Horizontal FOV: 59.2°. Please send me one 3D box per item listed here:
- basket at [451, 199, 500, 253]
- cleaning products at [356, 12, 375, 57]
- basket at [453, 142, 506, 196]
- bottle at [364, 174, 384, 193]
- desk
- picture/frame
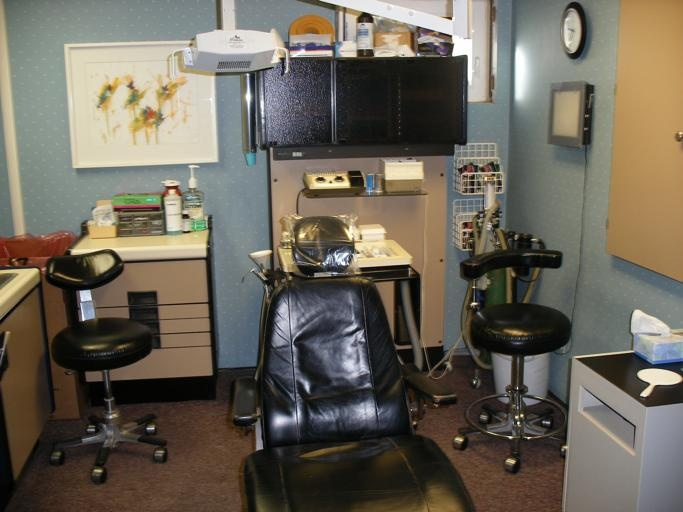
[{"bbox_3d":[0.972,-0.215,4.330,0.413,0.370,0.214,-1,14,-3],"label":"basket"},{"bbox_3d":[0.157,-1.423,3.883,0.122,0.297,0.302,-2,14,2],"label":"cleaning products"},{"bbox_3d":[0.998,-0.638,4.397,0.412,0.374,0.216,-2,12,-7],"label":"basket"},{"bbox_3d":[0.213,-0.493,4.068,0.134,0.128,0.119,0,8,-4],"label":"bottle"},{"bbox_3d":[0.050,0.311,4.059,1.045,0.879,0.809,-3,12,-7],"label":"desk"},{"bbox_3d":[-1.386,-1.030,4.032,0.996,0.746,0.036,-1,14,-5],"label":"picture/frame"}]
